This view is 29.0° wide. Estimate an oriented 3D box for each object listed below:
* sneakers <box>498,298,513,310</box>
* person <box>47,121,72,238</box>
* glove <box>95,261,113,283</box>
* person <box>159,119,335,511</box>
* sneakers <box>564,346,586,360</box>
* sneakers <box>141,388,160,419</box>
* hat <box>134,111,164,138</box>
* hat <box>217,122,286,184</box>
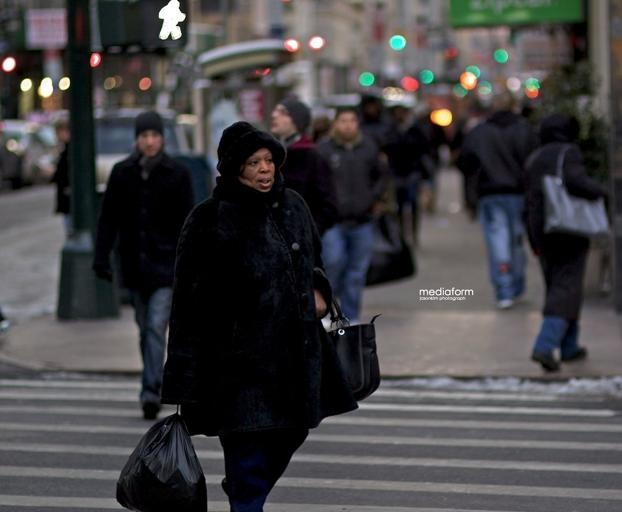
[{"bbox_3d":[1.848,0.442,11.459,0.106,0.124,0.085,2,-2,17],"label":"sneakers"},{"bbox_3d":[-2.082,-0.636,10.106,0.168,0.850,0.745,-3,9,-12],"label":"person"},{"bbox_3d":[-1.380,0.090,8.089,0.091,0.121,0.046,-34,3,33],"label":"glove"},{"bbox_3d":[-0.303,0.272,5.677,0.764,1.775,0.494,-1,8,2],"label":"person"},{"bbox_3d":[1.792,0.654,8.130,0.191,0.084,0.070,-6,10,-24],"label":"sneakers"},{"bbox_3d":[-1.091,0.994,8.138,0.078,0.253,0.103,0,24,-4],"label":"sneakers"},{"bbox_3d":[-1.122,-0.932,8.399,0.141,0.171,0.209,1,-7,-11],"label":"hat"},{"bbox_3d":[-0.280,-0.492,5.774,0.277,0.276,0.238,-3,0,0],"label":"hat"}]
